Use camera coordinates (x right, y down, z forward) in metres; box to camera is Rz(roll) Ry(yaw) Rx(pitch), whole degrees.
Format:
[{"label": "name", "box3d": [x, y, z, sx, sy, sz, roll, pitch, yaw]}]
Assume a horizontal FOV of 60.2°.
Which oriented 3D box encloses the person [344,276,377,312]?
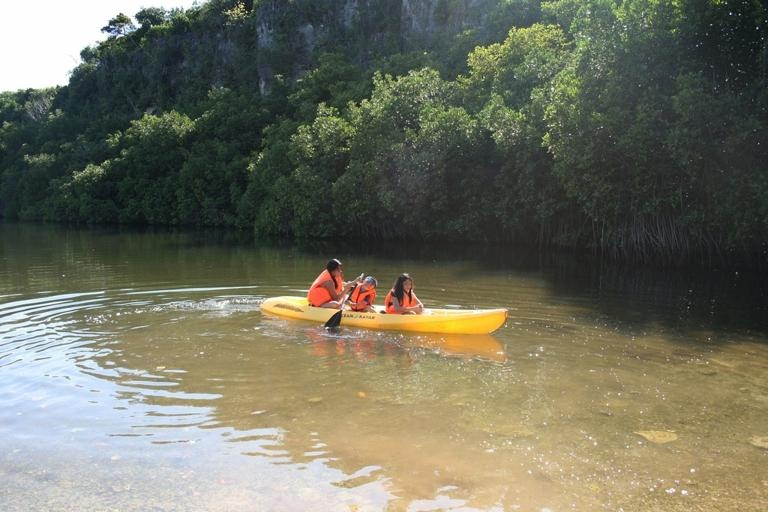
[{"label": "person", "box3d": [-0.542, 1.070, 18.938, 0.697, 0.960, 0.388, 34, 11, 10]}]
